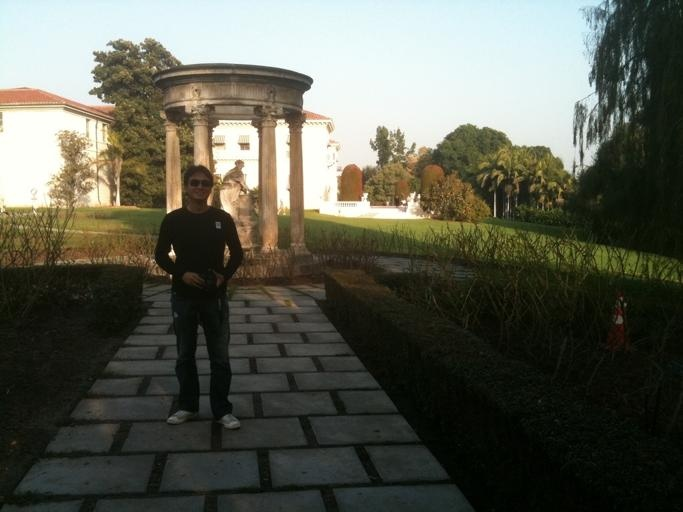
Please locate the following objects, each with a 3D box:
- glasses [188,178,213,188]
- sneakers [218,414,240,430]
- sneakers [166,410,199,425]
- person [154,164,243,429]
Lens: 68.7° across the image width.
[{"bbox_3d":[-1.228,-0.648,4.478,0.097,0.071,0.219,8,9,43],"label":"glasses"},{"bbox_3d":[-0.967,1.427,4.363,0.087,0.073,0.191,2,-1,-33],"label":"sneakers"},{"bbox_3d":[-1.396,1.407,4.445,0.100,0.099,0.237,4,-5,32],"label":"sneakers"},{"bbox_3d":[-1.267,0.328,4.468,0.763,2.256,0.649,1,5,-10],"label":"person"}]
